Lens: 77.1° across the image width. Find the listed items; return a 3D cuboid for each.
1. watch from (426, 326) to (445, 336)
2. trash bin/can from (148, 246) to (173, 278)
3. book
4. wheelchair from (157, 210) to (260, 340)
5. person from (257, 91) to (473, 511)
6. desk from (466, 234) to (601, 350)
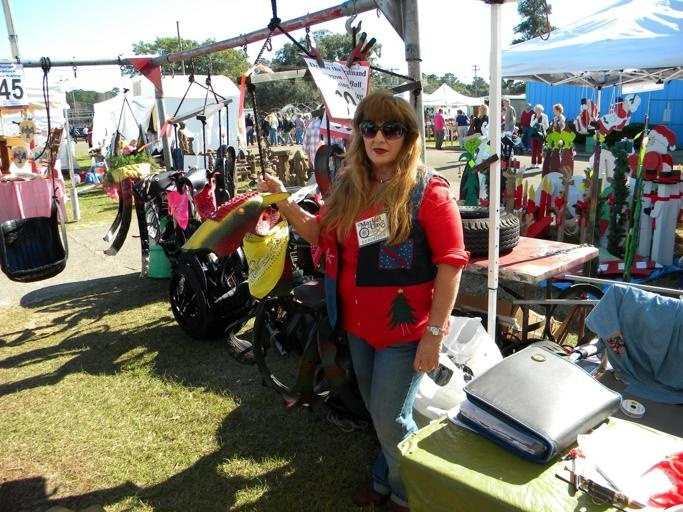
[{"bbox_3d":[0.443,0.350,1.991,0.066,0.042,0.066,12,-5,-6],"label":"watch"},{"bbox_3d":[-2.669,0.084,6.434,0.396,0.442,0.401,1,2,26],"label":"trash bin/can"},{"bbox_3d":[0.822,0.604,1.815,0.553,0.270,0.398,-9,16,-28],"label":"book"},{"bbox_3d":[-1.328,0.145,4.649,0.793,1.261,0.923,7,12,33],"label":"wheelchair"},{"bbox_3d":[0.237,0.270,2.185,0.743,2.131,0.442,3,15,16],"label":"person"},{"bbox_3d":[1.442,0.128,3.747,1.110,1.115,1.112,-11,15,-35],"label":"desk"}]
